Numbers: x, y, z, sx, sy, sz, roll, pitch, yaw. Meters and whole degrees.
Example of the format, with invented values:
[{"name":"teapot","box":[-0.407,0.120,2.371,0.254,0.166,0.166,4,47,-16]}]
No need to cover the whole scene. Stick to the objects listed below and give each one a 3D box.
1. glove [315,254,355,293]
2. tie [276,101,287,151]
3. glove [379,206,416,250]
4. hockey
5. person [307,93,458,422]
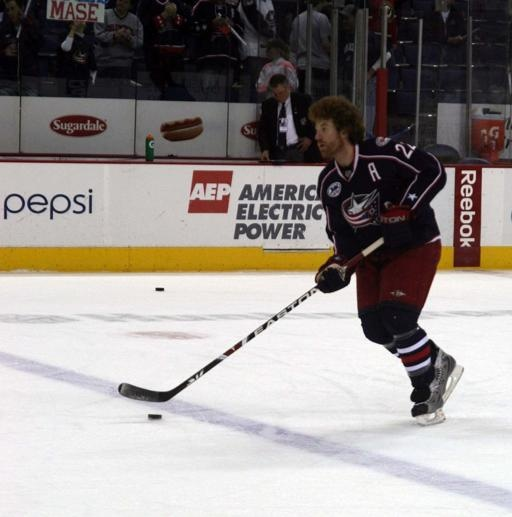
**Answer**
[{"name":"glove","box":[0.305,0.061,3.485,0.168,0.112,0.063,-24,-34,9]},{"name":"tie","box":[0.287,-1.357,9.129,0.100,0.454,0.142,2,4,1]},{"name":"glove","box":[0.536,-0.116,3.293,0.162,0.191,0.109,-9,2,2]},{"name":"hockey","box":[-0.094,0.356,5.333,1.311,0.179,0.098,-32,-28,-6]},{"name":"person","box":[0.491,-0.012,3.469,0.617,1.230,0.404,3,5,10]}]
